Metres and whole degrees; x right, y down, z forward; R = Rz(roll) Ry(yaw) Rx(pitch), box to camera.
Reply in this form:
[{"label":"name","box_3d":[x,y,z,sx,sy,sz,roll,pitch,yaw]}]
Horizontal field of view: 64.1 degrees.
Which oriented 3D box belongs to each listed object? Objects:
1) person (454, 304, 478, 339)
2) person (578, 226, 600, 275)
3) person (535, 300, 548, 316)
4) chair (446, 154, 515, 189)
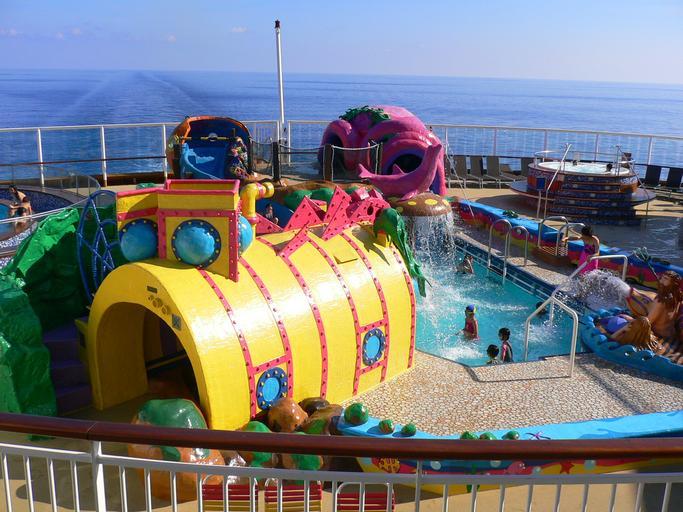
[{"label":"person","box_3d":[1.968,1.176,8.403,0.293,0.771,0.264,-10,15,-16]},{"label":"person","box_3d":[4.113,-0.096,9.078,0.299,0.800,1.902,1,1,24]},{"label":"person","box_3d":[3.372,0.905,9.163,0.204,0.236,0.734,1,1,20]},{"label":"chair","box_3d":[4.314,-2.621,17.204,2.432,0.939,1.054,1,1,-14]}]
